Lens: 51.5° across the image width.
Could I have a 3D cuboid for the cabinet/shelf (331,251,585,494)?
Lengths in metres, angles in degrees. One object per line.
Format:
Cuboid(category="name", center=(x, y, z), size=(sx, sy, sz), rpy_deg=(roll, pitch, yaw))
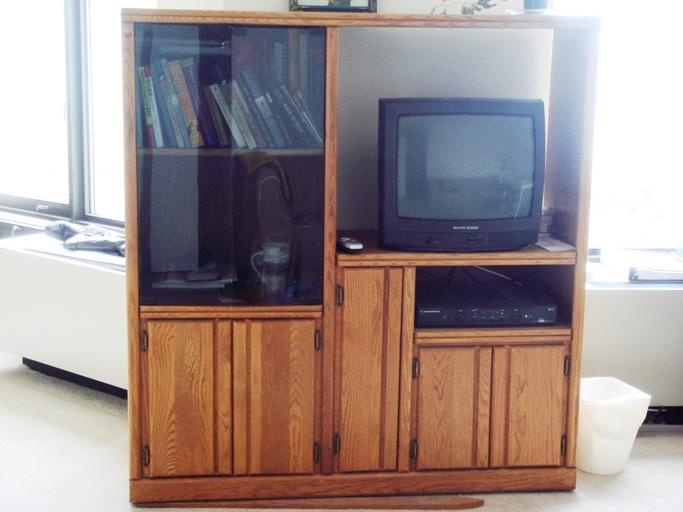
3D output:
Cuboid(category="cabinet/shelf", center=(0.471, 0.523, 2.994), size=(1.139, 0.934, 0.378), rpy_deg=(0, 9, -1))
